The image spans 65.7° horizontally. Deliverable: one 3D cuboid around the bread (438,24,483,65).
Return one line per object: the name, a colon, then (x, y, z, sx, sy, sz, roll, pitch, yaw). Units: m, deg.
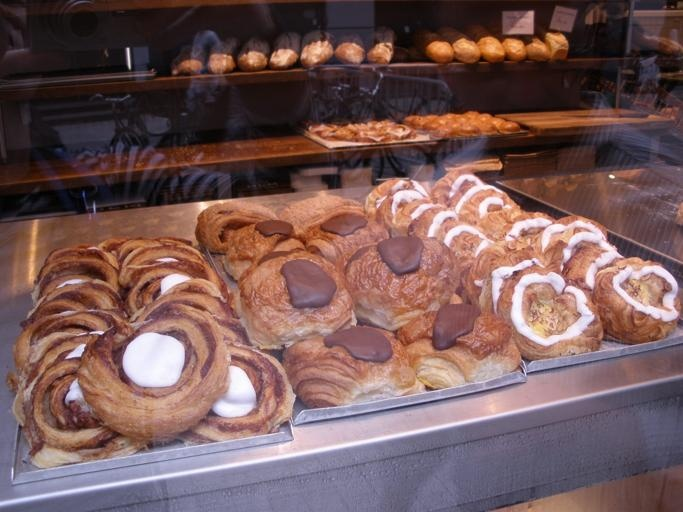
bread: (0.483, -0.883, 2.222, 0.111, 0.074, 0.222, -27, 56, -20)

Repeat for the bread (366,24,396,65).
bread: (0.139, -0.721, 1.826, 0.081, 0.148, 0.053, 15, -26, -1)

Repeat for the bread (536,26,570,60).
bread: (0.787, -0.802, 2.000, 0.130, 0.092, 0.131, -1, -10, 18)

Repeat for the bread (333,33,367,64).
bread: (0.030, -0.681, 1.744, 0.096, 0.087, 0.047, 4, -5, -21)

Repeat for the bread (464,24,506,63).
bread: (0.585, -0.880, 2.211, 0.120, 0.079, 0.255, -22, 51, -5)

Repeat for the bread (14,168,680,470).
bread: (0.010, 0.138, 1.184, 1.236, 0.170, 0.724, -6, 25, -17)

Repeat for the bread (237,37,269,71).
bread: (-0.355, -0.831, 2.143, 0.141, 0.187, 0.075, 0, -28, -3)
